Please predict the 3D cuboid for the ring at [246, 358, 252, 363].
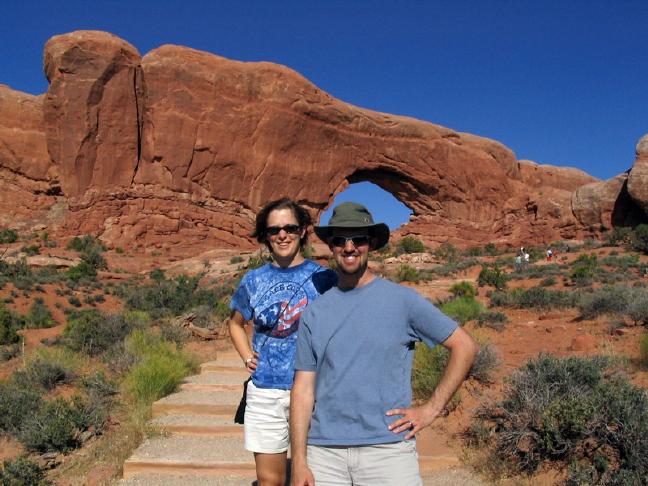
[{"bbox_3d":[-1.303,2.040,10.642,0.028,0.113,0.026,24,-2,1],"label":"ring"}]
